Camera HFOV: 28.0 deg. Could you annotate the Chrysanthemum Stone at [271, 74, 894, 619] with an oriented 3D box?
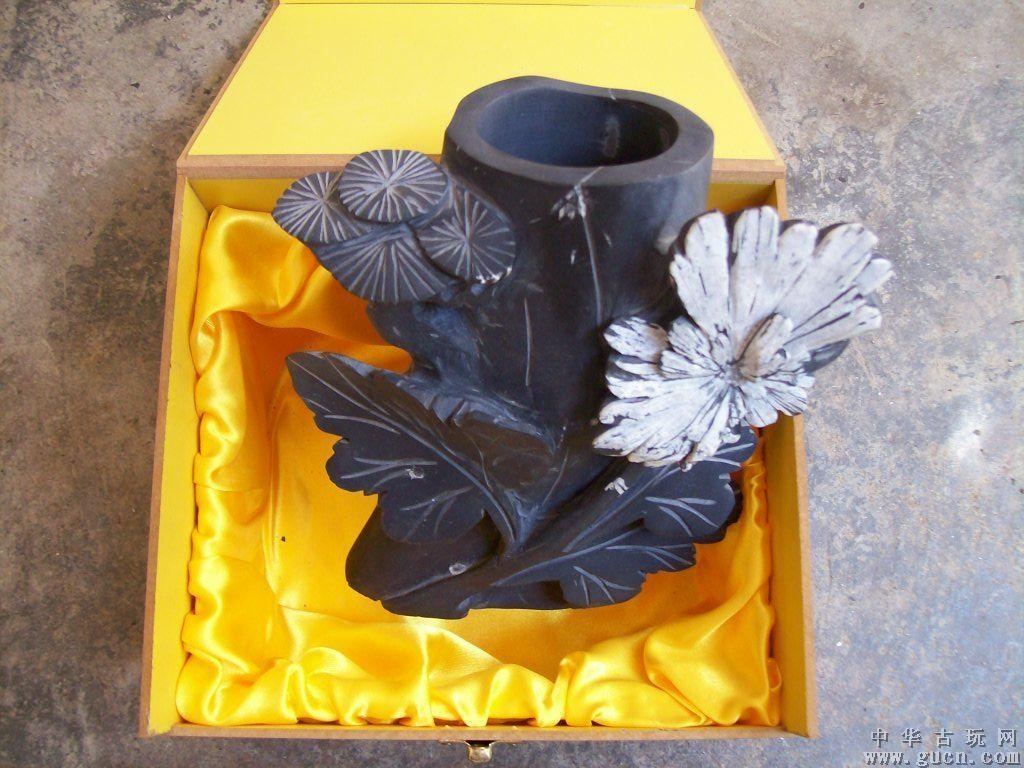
[{"bbox_3d":[0.076,-0.042,3.770,0.920,0.996,0.486,7,42,3],"label":"Chrysanthemum Stone"}]
